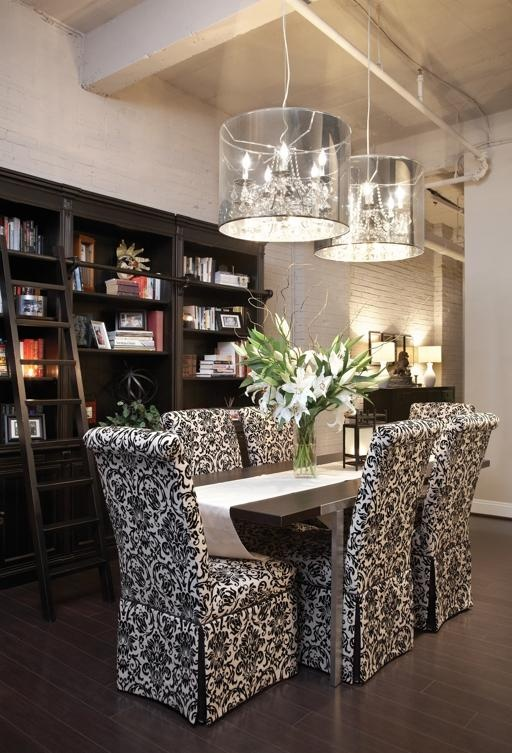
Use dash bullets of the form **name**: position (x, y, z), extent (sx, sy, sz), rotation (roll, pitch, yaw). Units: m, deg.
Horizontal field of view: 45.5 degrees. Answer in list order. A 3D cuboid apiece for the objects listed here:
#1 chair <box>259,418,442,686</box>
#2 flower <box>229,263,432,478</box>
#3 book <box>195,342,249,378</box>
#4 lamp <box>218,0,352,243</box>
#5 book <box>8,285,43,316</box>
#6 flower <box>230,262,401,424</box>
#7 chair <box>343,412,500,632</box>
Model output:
- **chair**: position (0.409, 0.707, 2.405), extent (0.753, 0.983, 0.680), rotation (-15, -12, 26)
- **flower**: position (0.272, 0.169, 2.673), extent (0.483, 0.512, 0.522), rotation (7, -14, -35)
- **book**: position (-0.236, -0.142, 4.666), extent (0.360, 0.278, 0.366), rotation (3, 2, 9)
- **lamp**: position (0.108, -0.750, 2.360), extent (0.499, 0.398, 0.485), rotation (0, -3, -2)
- **book**: position (-1.267, -0.401, 3.360), extent (0.155, 0.283, 0.203), rotation (0, -1, -19)
- **flower**: position (0.235, -0.112, 2.813), extent (0.676, 0.581, 0.646), rotation (-4, -3, 22)
- **chair**: position (0.451, 0.542, 2.526), extent (0.650, 0.767, 0.651), rotation (-2, 5, 4)
